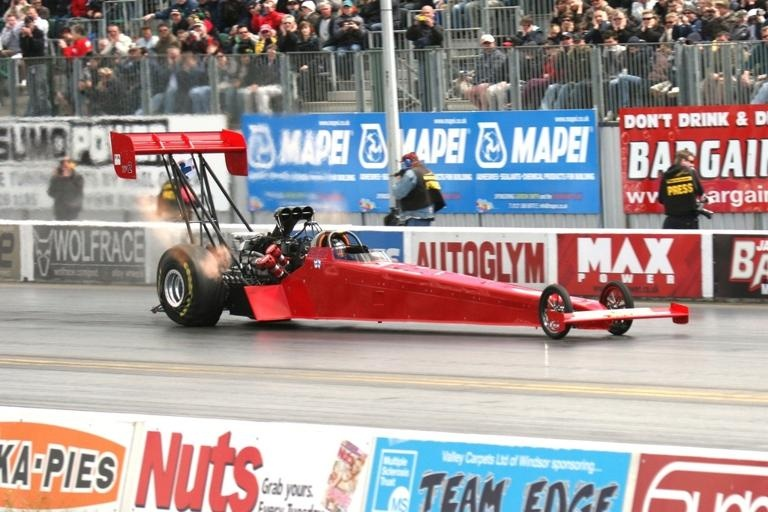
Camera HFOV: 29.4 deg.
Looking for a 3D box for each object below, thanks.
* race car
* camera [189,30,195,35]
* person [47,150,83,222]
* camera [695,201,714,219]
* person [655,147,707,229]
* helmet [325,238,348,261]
[{"bbox_3d":[-0.236,-0.366,21.871,8.556,2.961,3.401,0,3,29],"label":"race car"},{"bbox_3d":[-3.684,-4.296,28.259,0.120,0.042,0.153,3,15,3],"label":"camera"},{"bbox_3d":[-6.176,-1.124,28.684,0.736,1.566,0.484,-7,-14,7],"label":"person"},{"bbox_3d":[5.240,-0.746,24.007,0.307,0.304,0.095,35,-42,-19],"label":"camera"},{"bbox_3d":[4.775,-1.048,23.702,0.729,1.247,1.202,3,20,5],"label":"person"},{"bbox_3d":[-0.673,-0.074,21.347,0.231,0.295,0.119,-17,-14,-19],"label":"helmet"}]
